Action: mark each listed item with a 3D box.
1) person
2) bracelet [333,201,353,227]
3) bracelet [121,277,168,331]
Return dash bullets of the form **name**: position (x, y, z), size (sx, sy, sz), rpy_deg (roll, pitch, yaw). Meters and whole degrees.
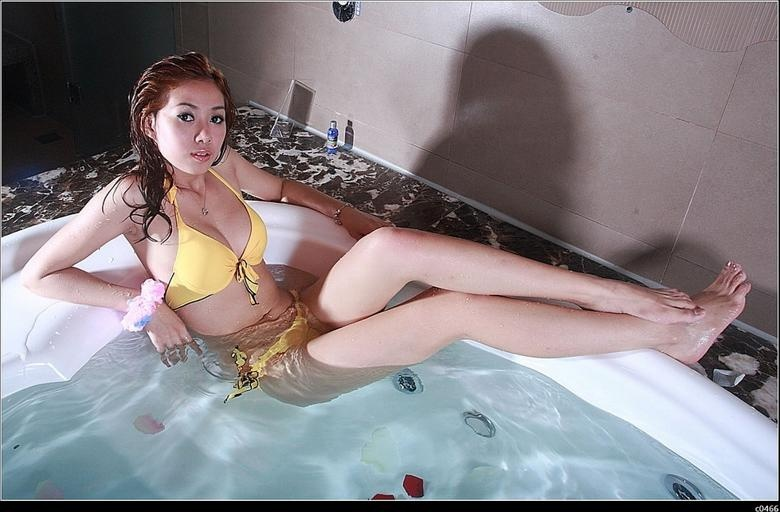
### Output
- **person**: position (0.033, -0.036, 1.707), size (2.324, 0.964, 0.745), rpy_deg (4, 32, -2)
- **bracelet**: position (-0.189, -0.172, 2.005), size (0.034, 0.078, 0.086), rpy_deg (20, 48, -37)
- **bracelet**: position (-0.768, 0.155, 1.568), size (0.118, 0.069, 0.176), rpy_deg (39, 76, 7)
